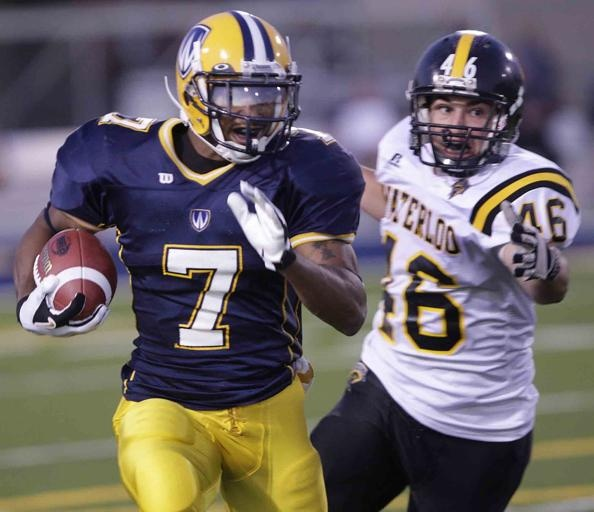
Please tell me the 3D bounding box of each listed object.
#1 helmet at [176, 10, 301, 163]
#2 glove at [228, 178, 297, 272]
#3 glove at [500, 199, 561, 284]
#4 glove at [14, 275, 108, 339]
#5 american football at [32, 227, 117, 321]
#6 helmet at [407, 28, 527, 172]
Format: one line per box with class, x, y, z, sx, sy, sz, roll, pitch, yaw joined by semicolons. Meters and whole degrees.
helmet;-0.217;-0.638;3.764;0.572;0.458;0.496;24;24;38
glove;-0.120;-0.097;3.330;0.095;0.181;0.321;-1;54;-56
glove;0.839;-0.009;3.616;0.172;0.202;0.103;2;15;12
glove;-0.867;0.176;3.723;0.101;0.190;0.254;32;0;-27
american football;-0.822;0.069;3.833;0.322;0.313;0.389;-4;43;-17
helmet;0.685;-0.638;4.154;0.470;0.510;0.577;8;14;17
